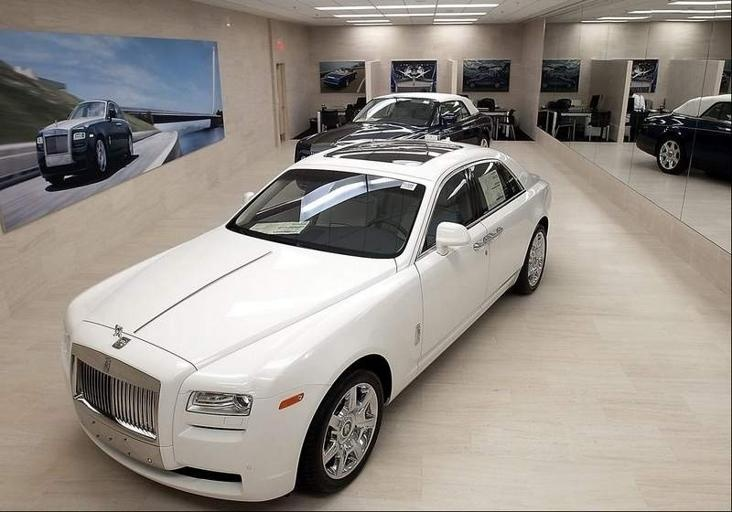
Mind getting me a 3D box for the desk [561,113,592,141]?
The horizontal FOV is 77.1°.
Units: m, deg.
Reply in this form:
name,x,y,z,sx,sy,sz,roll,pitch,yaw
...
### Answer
name,x,y,z,sx,sy,sz,roll,pitch,yaw
desk,5.032,-3.062,10.970,0.957,0.676,0.537,5,24,21
